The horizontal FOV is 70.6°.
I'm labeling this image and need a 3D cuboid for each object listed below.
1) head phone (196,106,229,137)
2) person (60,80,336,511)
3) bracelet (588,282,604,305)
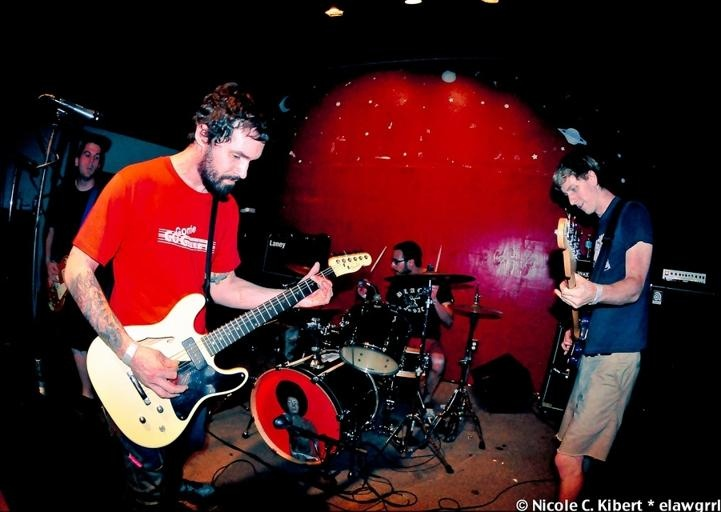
[{"bbox_3d":[-1.210,-1.084,4.150,0.325,0.259,0.076,8,12,19],"label":"head phone"},{"bbox_3d":[-1.552,0.434,4.301,1.520,3.765,0.712,-6,15,-43],"label":"person"},{"bbox_3d":[1.957,0.308,4.199,0.105,0.161,0.044,-1,12,-26],"label":"bracelet"}]
